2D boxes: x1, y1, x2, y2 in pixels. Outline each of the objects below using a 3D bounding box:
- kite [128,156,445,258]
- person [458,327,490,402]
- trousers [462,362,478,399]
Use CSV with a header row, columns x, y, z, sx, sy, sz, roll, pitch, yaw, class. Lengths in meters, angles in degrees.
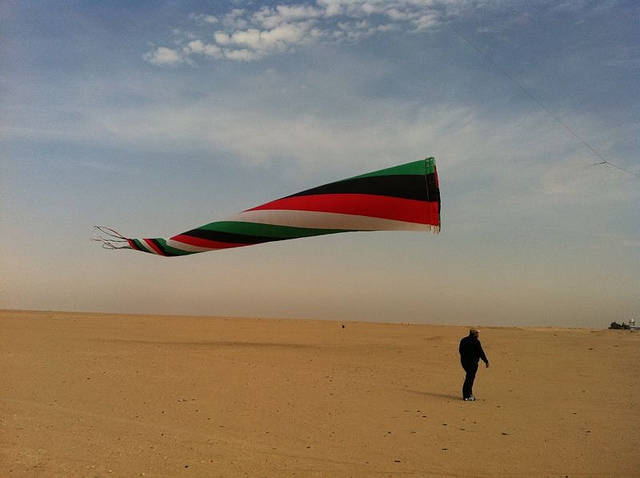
x,y,z,sx,sy,sz,roll,pitch,yaw,class
-1.581,-0.367,7.749,6.980,0.972,1.272,-2,-3,0,kite
4.300,3.436,16.747,0.797,1.895,1.601,2,6,15,person
4.105,3.850,16.399,0.383,0.969,0.452,2,7,10,trousers
